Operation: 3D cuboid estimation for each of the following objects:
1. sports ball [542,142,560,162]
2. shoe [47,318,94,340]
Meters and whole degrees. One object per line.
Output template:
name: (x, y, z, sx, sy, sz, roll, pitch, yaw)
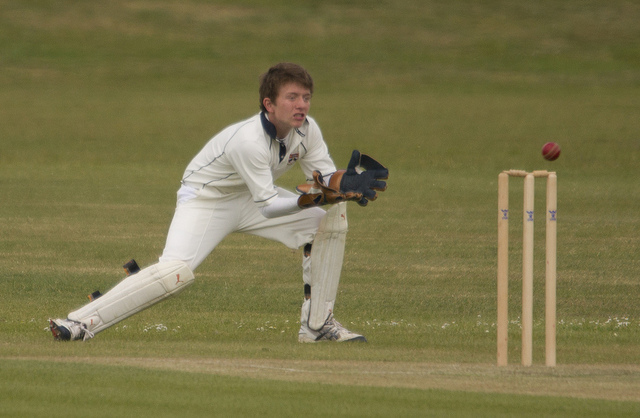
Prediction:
sports ball: (3.576, -0.906, 24.277, 0.262, 0.257, 0.229, 4, -1, 8)
shoe: (-3.931, 1.737, 24.329, 0.380, 0.179, 0.447, 8, 9, -40)
